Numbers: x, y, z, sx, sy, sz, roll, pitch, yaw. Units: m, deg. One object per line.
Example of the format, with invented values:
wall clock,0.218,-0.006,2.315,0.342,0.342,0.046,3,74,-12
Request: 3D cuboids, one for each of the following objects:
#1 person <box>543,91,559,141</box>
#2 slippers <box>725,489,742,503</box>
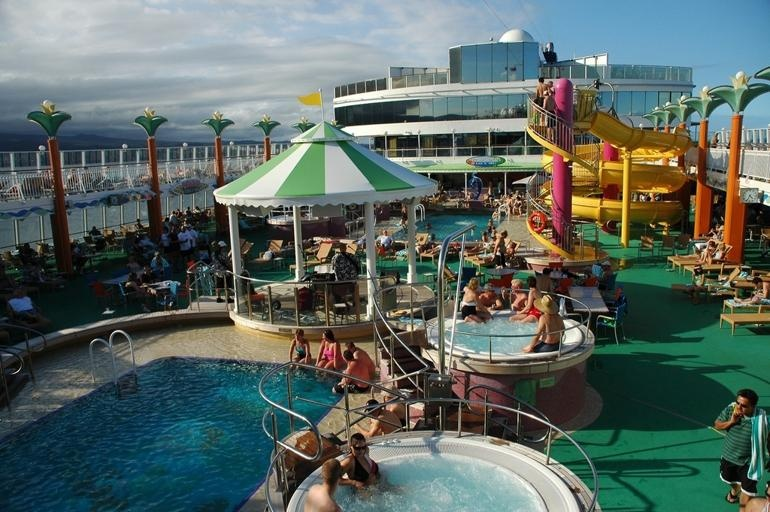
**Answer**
person,6.052,-5.244,22.151,0.447,1.869,0.811,-2,9,7
slippers,6.382,4.403,11.020,0.239,0.150,0.607,-18,-17,22
